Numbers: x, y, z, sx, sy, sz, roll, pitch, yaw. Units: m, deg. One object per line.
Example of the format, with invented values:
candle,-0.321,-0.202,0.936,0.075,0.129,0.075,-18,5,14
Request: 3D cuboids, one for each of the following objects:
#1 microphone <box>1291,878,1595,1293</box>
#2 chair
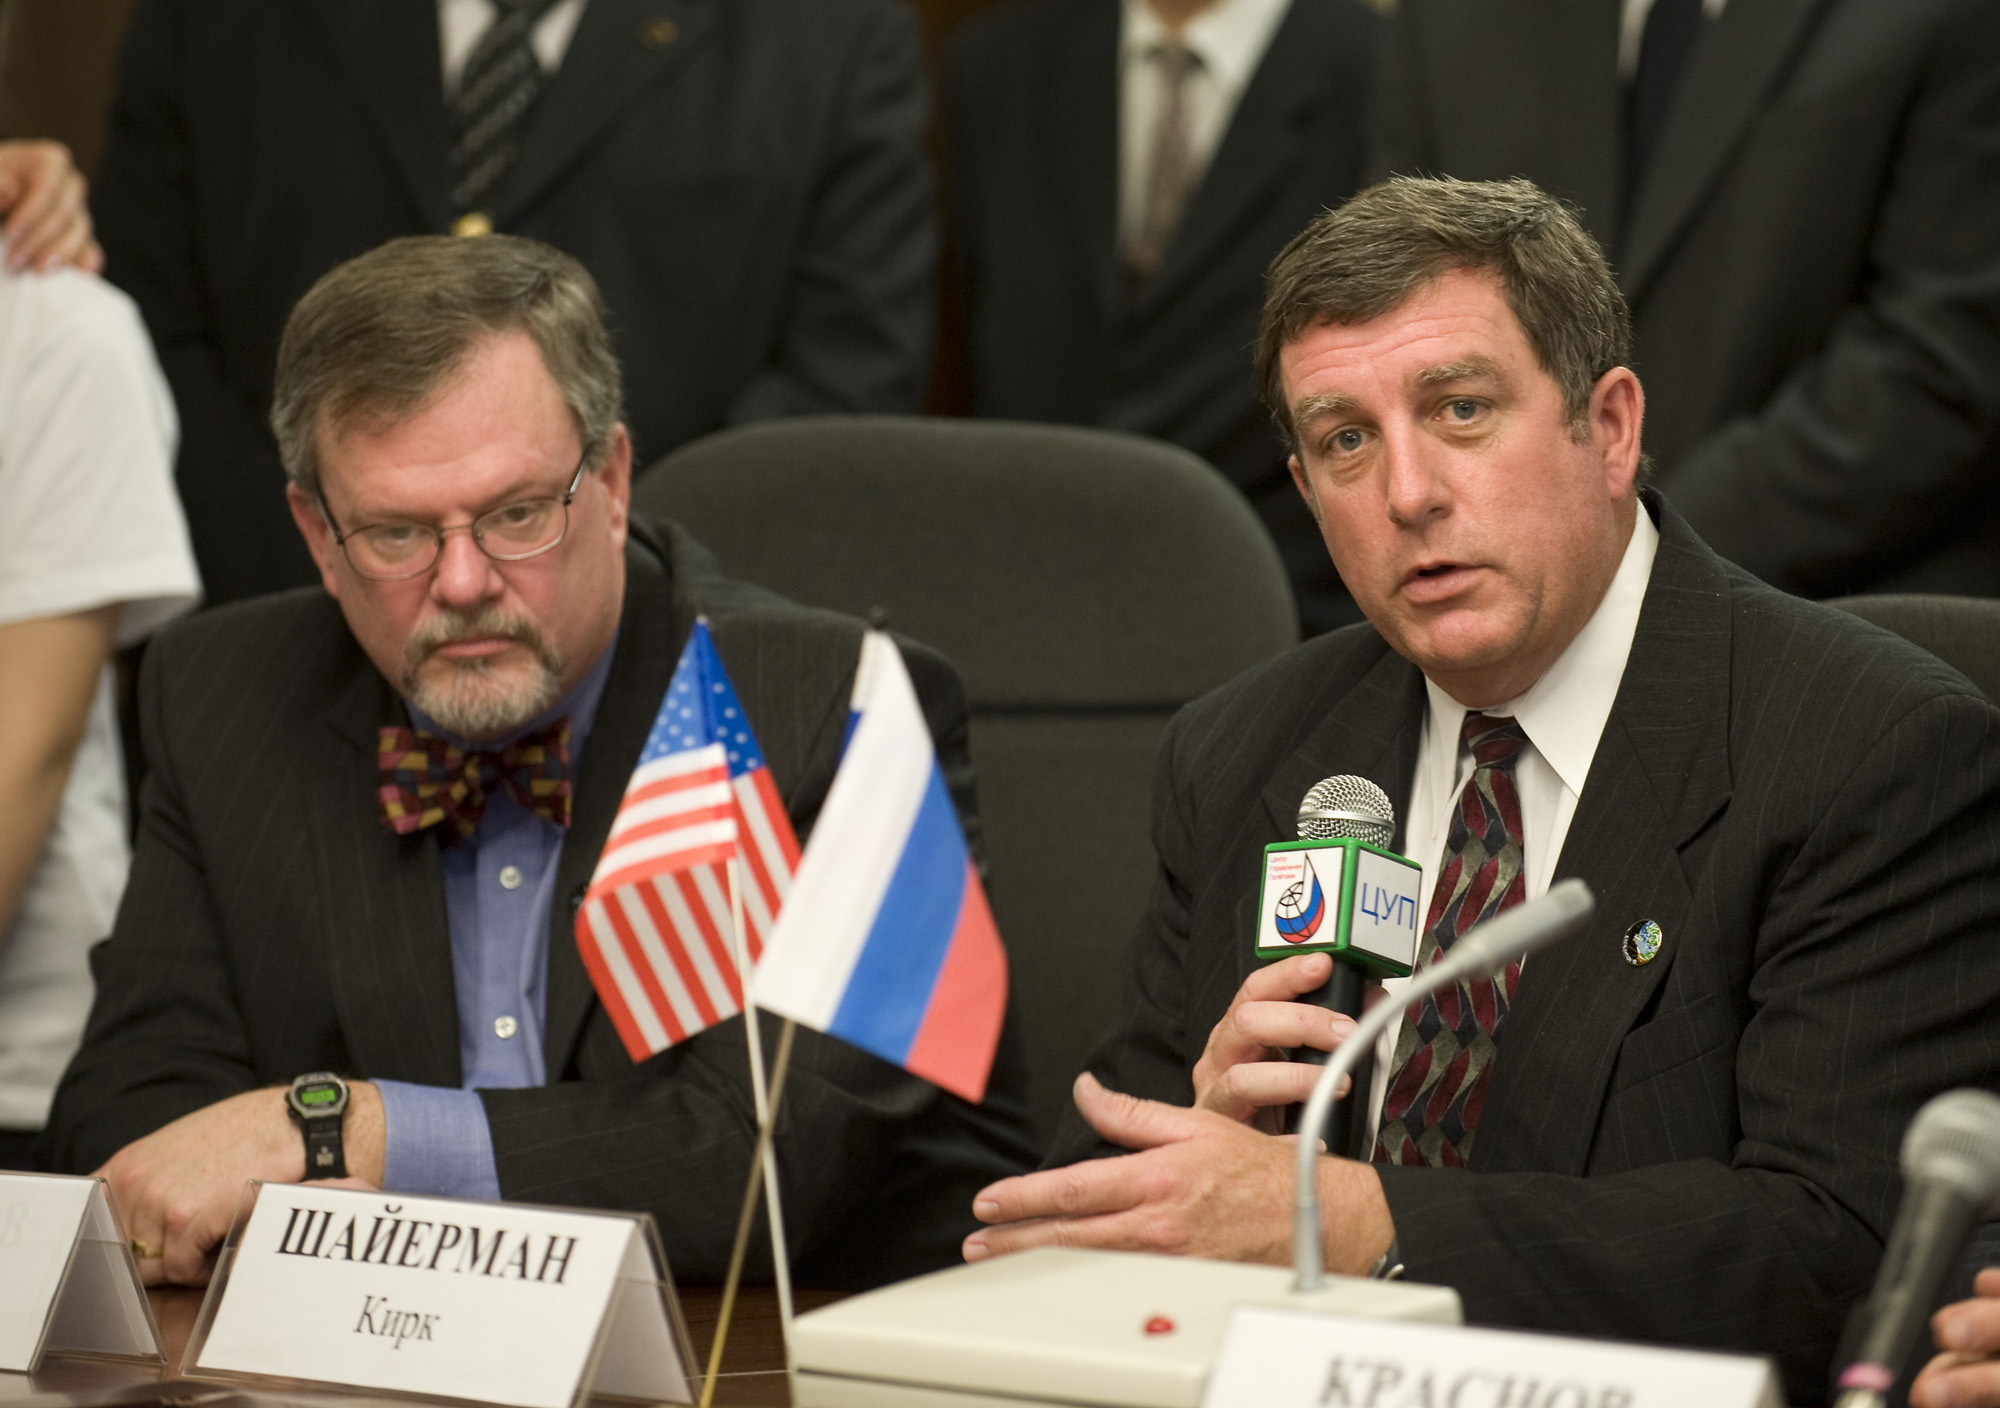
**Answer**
microphone,0.319,0.268,1.495,0.217,0.285,0.193,0,6,-3
chair,-0.023,0.079,3.335,0.819,1.175,0.962,-1,-2,-1
